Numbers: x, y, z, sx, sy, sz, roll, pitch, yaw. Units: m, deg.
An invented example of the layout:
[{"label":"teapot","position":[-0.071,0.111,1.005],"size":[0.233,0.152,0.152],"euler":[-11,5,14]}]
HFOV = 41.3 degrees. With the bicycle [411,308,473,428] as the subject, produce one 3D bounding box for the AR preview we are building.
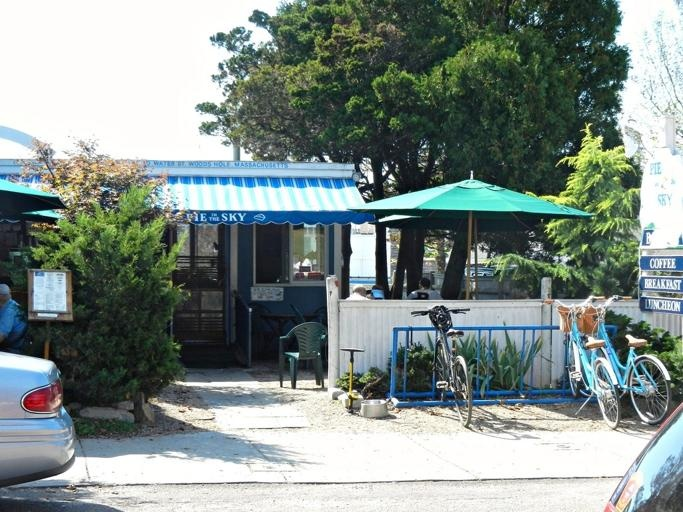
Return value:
[{"label":"bicycle","position":[1.537,1.590,13.646],"size":[0.802,1.539,1.757],"euler":[1,9,1]}]
